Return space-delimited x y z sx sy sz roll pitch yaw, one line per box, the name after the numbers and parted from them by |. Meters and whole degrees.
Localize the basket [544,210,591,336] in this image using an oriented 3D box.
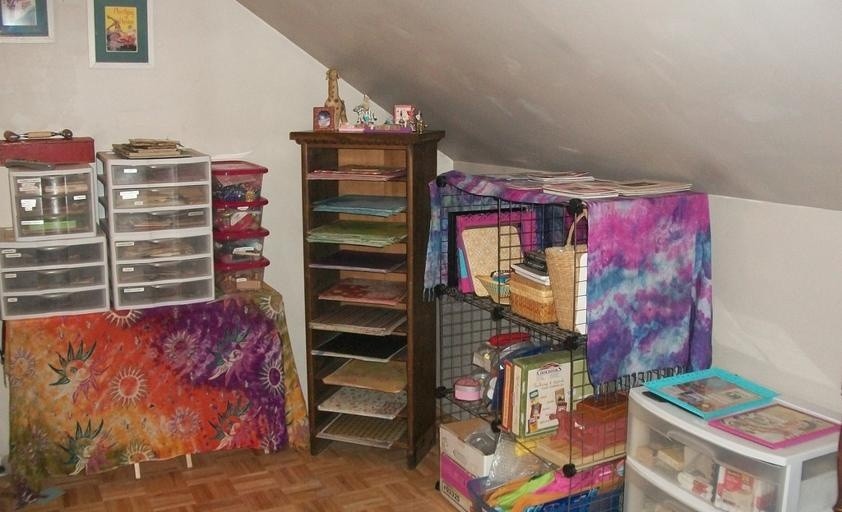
0.639 0.142 2.911 0.172 0.395 0.123 0 11 9 | basket

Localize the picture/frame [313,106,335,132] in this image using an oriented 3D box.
-0.546 -0.776 3.732 0.170 0.148 0.021 3 13 15 | picture/frame

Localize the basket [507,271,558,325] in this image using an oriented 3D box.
0.506 0.196 3.045 0.214 0.219 0.356 -3 6 -26 | basket

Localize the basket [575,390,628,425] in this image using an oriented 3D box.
0.852 0.709 3.101 0.214 0.044 0.145 -5 6 -38 | basket

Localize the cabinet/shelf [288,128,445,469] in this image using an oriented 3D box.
-0.271 0.226 3.979 0.855 1.939 0.657 -1 11 6 | cabinet/shelf

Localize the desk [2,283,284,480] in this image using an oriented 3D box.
-1.469 0.679 3.551 1.565 0.714 1.010 -5 9 -30 | desk

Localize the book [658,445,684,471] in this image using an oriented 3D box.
1.050 0.838 2.759 0.027 0.095 0.111 -12 14 -41 | book

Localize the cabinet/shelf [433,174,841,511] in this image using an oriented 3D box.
0.907 0.251 3.086 0.665 1.286 1.857 -12 15 -43 | cabinet/shelf
